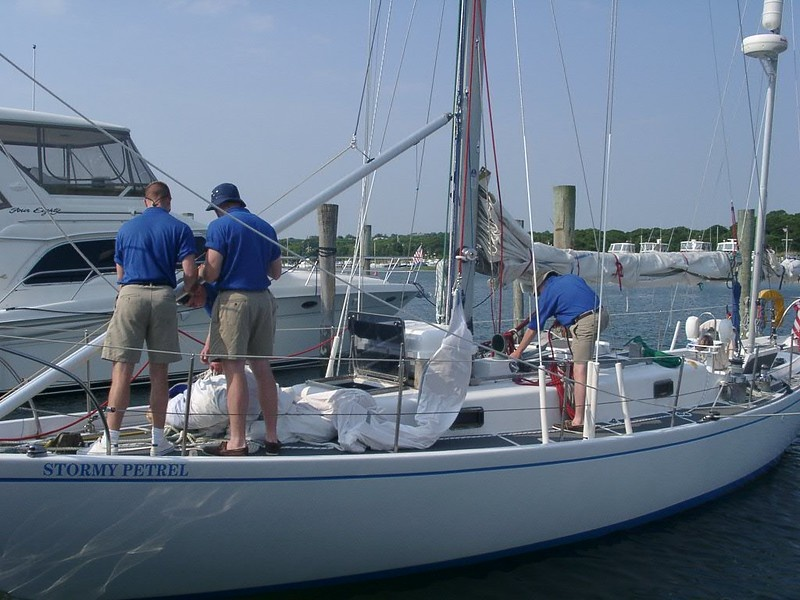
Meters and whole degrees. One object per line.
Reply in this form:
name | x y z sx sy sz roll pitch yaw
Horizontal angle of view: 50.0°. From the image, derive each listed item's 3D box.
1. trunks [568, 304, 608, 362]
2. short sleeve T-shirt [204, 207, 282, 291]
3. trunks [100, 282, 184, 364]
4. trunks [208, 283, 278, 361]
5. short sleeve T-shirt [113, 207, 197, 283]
trunks | 1.570 0.308 7.135 0.274 0.437 0.348 -2 -6 27
short sleeve T-shirt | -1.137 -0.341 6.200 0.330 0.577 0.626 -11 -6 42
trunks | -1.784 0.169 5.914 0.502 0.552 0.266 -2 2 -18
trunks | -1.099 0.171 6.003 0.462 0.474 0.302 -1 2 -11
short sleeve T-shirt | -1.740 -0.381 6.106 0.610 0.544 0.302 -1 0 8
